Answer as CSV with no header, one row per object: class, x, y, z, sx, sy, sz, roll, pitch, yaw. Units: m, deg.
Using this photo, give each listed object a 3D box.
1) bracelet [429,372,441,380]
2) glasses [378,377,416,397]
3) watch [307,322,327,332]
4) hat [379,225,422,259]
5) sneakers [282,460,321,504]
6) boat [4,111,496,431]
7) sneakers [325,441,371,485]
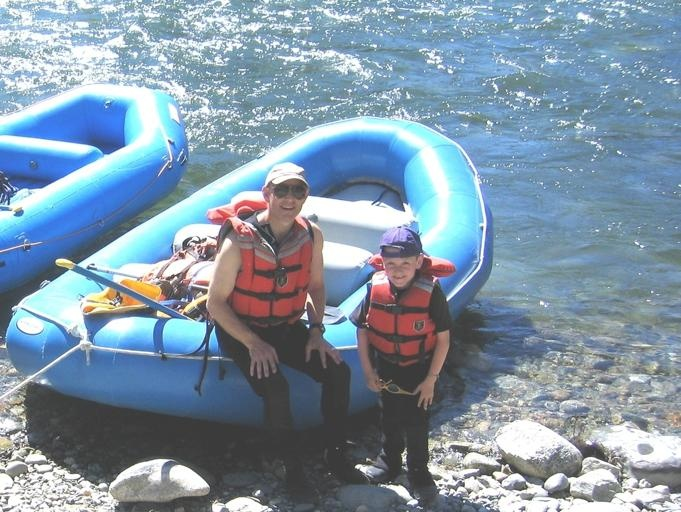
bracelet,0.702,0.869,6.444,0.101,0.029,0.155,-5,-4,4
glasses,0.407,0.959,6.448,0.154,0.049,0.177,8,-12,44
watch,-0.165,0.537,6.643,0.088,0.046,0.071,-11,44,-28
hat,0.437,-0.103,6.240,0.295,0.210,0.213,2,21,2
sneakers,-0.281,1.661,6.485,0.201,0.345,0.113,-25,-13,12
boat,-0.481,-0.042,7.950,2.678,0.782,4.139,21,34,31
sneakers,0.036,1.537,6.476,0.232,0.105,0.361,3,26,5
